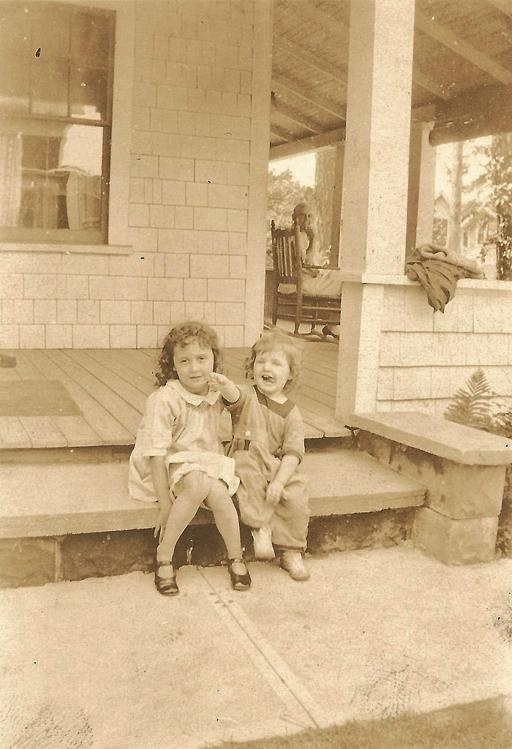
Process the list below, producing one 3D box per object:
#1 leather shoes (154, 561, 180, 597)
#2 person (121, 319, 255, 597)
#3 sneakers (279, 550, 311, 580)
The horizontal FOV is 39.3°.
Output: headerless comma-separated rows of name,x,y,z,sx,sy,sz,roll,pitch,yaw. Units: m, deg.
leather shoes,-0.288,0.657,2.306,0.049,0.049,0.135,0,1,-18
person,-0.195,0.258,2.453,0.389,0.864,0.422,4,7,-12
sneakers,0.132,0.671,2.530,0.056,0.087,0.138,-8,2,-27
